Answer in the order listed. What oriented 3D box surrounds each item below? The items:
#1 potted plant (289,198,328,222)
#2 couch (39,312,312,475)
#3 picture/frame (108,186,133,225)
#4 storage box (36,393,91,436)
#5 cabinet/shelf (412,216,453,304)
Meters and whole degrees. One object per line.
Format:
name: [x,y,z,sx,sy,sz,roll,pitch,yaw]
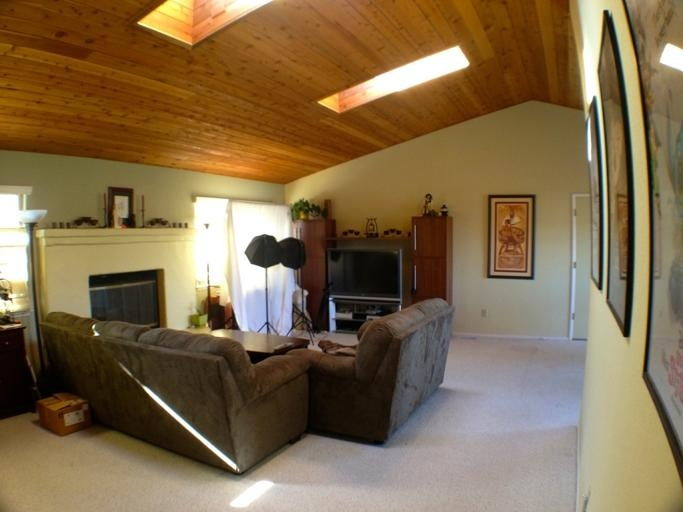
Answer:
potted plant: [-0.498,-0.759,8.177,0.430,0.226,0.449,1,6,32]
couch: [-1.604,1.016,4.205,2.510,1.030,0.972,3,9,23]
picture/frame: [-2.587,-0.594,5.753,0.163,0.467,0.394,2,9,14]
storage box: [-2.408,1.370,4.279,0.386,0.239,0.275,5,12,39]
cabinet/shelf: [1.297,0.049,7.136,0.521,1.249,0.343,0,9,2]
